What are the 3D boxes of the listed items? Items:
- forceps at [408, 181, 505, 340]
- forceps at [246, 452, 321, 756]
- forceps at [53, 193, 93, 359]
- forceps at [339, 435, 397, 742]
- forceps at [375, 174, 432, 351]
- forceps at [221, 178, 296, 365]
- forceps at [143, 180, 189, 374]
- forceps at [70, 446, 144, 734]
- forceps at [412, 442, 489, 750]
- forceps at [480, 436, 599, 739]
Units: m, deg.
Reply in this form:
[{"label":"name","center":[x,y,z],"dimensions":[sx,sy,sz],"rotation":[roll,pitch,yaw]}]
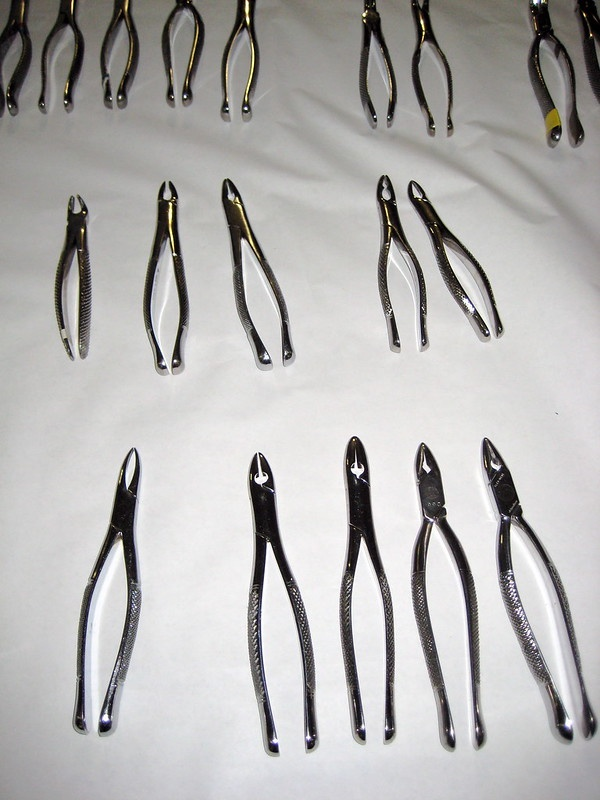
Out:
[{"label":"forceps","center":[0.208,-0.194,1.047],"dimensions":[0.049,0.379,0.034],"rotation":[-9,-18,-5]},{"label":"forceps","center":[-0.028,0.255,0.974],"dimensions":[0.059,0.029,0.446],"rotation":[-2,-67,8]},{"label":"forceps","center":[-0.301,-0.164,1.056],"dimensions":[0.039,0.276,0.023],"rotation":[-1,-30,-13]},{"label":"forceps","center":[0.077,0.218,0.935],"dimensions":[0.065,0.344,0.046],"rotation":[-6,-21,8]},{"label":"forceps","center":[0.136,-0.196,1.072],"dimensions":[0.052,0.025,0.292],"rotation":[11,-36,25]},{"label":"forceps","center":[-0.068,-0.179,1.048],"dimensions":[0.055,0.335,0.026],"rotation":[-1,-37,-22]},{"label":"forceps","center":[-0.175,-0.176,1.044],"dimensions":[0.057,0.288,0.029],"rotation":[4,-22,-16]},{"label":"forceps","center":[-0.228,0.226,0.946],"dimensions":[0.080,0.318,0.041],"rotation":[-9,-22,14]},{"label":"forceps","center":[0.172,0.226,0.941],"dimensions":[0.077,0.348,0.051],"rotation":[-8,-22,12]},{"label":"forceps","center":[0.278,0.214,0.938],"dimensions":[0.097,0.350,0.045],"rotation":[3,-22,-14]}]
